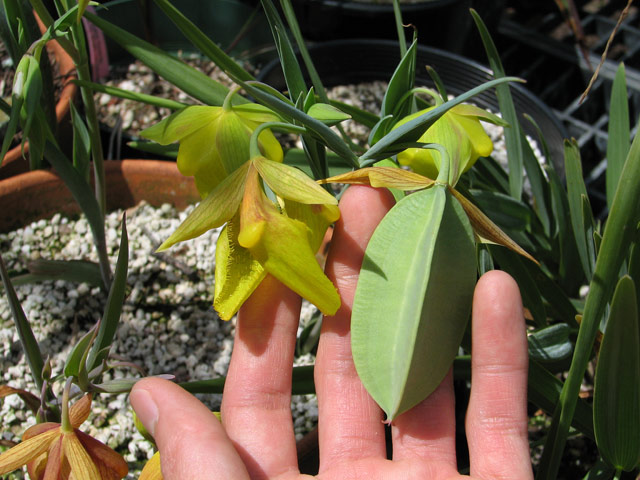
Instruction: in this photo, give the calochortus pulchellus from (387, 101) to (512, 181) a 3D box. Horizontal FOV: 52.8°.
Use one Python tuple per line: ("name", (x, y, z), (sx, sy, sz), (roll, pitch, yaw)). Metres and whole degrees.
("calochortus pulchellus", (0.197, -0.147, 0.942), (0.119, 0.126, 0.062), (-29, -32, -11))
